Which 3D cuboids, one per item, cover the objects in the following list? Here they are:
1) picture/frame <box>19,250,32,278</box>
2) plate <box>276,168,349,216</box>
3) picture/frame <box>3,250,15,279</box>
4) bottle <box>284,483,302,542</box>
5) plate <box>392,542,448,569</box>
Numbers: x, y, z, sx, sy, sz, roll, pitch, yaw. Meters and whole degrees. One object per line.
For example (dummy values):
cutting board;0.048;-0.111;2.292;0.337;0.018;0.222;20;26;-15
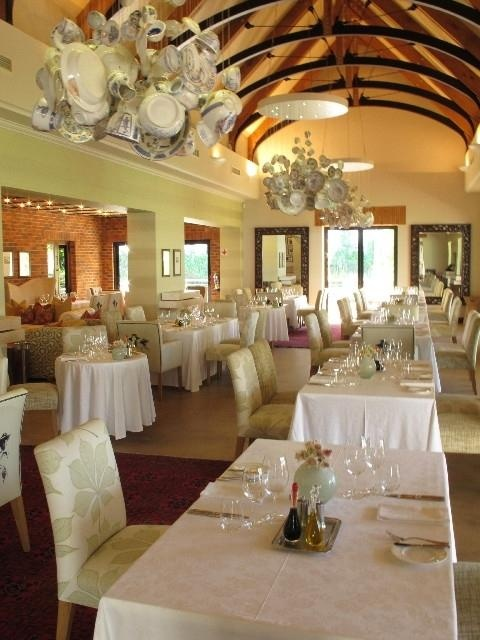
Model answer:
picture/frame;-6.164;-1.591;12.840;0.061;0.760;0.418;-2;-3;16
plate;1.268;-2.234;7.689;0.866;0.302;0.888;0;-41;3
picture/frame;-6.375;-1.544;12.305;0.157;0.785;0.422;-1;-3;-5
bottle;0.159;0.551;1.327;0.048;0.145;0.177;-2;-3;13
plate;0.464;0.603;1.146;0.145;0.014;0.130;-2;-3;13
